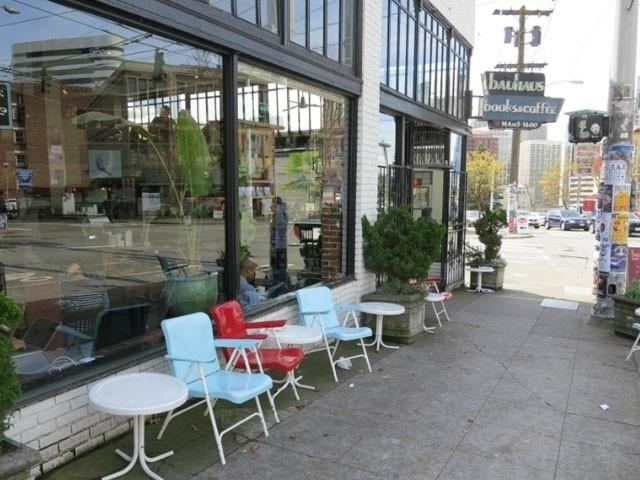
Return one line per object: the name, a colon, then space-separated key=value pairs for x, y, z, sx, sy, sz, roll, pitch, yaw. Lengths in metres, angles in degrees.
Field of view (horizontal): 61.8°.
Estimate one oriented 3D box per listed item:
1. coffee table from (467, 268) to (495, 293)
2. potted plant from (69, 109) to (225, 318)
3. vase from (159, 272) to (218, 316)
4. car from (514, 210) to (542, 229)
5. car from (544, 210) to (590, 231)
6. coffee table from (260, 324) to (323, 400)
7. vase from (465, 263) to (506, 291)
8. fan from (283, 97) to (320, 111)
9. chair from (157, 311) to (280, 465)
coffee table: x=3.602 y=0.897 z=11.947 sx=0.484 sy=0.390 sz=0.507 roll=1 pitch=-1 yaw=-6
potted plant: x=-2.178 y=-0.395 z=6.518 sx=2.076 sy=3.173 sz=1.536 roll=0 pitch=0 yaw=-2
vase: x=-1.479 y=0.636 z=6.135 sx=0.455 sy=0.464 sz=0.467 roll=-5 pitch=-7 yaw=35
car: x=13.909 y=-1.354 z=35.831 sx=1.375 sy=1.178 sz=3.150 roll=-2 pitch=-5 yaw=11
car: x=16.807 y=-1.336 z=36.594 sx=1.189 sy=1.023 sz=2.858 roll=-1 pitch=0 yaw=-5
coffee table: x=-0.310 y=1.382 z=6.386 sx=0.668 sy=0.657 sz=0.732 roll=3 pitch=6 yaw=14
vase: x=3.781 y=0.842 z=12.097 sx=0.697 sy=0.490 sz=0.735 roll=0 pitch=-2 yaw=3
fan: x=-0.251 y=-1.889 z=7.473 sx=0.267 sy=0.101 sz=0.288 roll=-1 pitch=0 yaw=-35
chair: x=-0.965 y=1.336 z=5.555 sx=1.255 sy=1.513 sz=1.059 roll=3 pitch=5 yaw=32
